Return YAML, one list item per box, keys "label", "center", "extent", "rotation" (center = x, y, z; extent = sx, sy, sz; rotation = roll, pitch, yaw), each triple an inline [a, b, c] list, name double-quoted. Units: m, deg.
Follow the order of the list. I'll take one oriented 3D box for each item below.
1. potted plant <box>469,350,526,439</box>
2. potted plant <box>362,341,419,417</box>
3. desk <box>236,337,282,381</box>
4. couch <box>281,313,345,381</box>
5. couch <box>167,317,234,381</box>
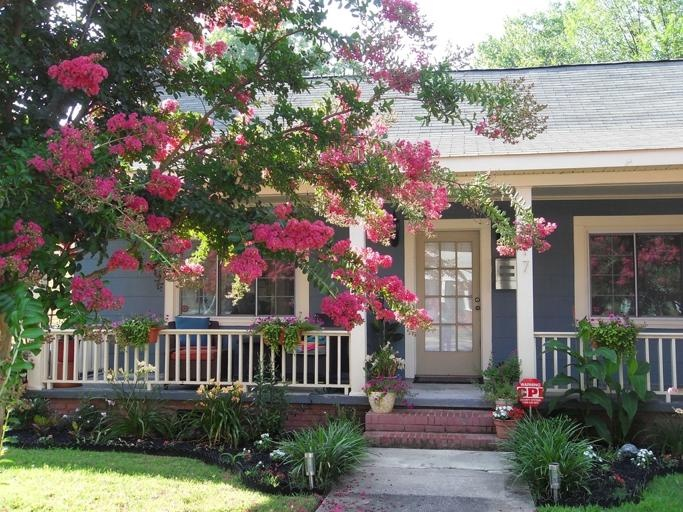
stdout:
- label: "potted plant"
  center: [2.130, 1.746, 8.515]
  extent: [0.739, 1.224, 0.698]
  rotation: [1, -1, -31]
- label: "potted plant"
  center: [0.528, 1.594, 8.732]
  extent: [0.690, 1.084, 0.699]
  rotation: [0, 2, 1]
- label: "desk"
  center: [-1.106, 1.414, 9.507]
  extent: [0.599, 0.610, 0.485]
  rotation: [6, -10, -21]
- label: "couch"
  center: [-0.354, 1.301, 9.550]
  extent: [0.889, 1.083, 1.727]
  rotation: [0, 9, -1]
- label: "couch"
  center: [-2.060, 1.364, 9.749]
  extent: [0.869, 0.958, 1.973]
  rotation: [-2, 9, -12]
